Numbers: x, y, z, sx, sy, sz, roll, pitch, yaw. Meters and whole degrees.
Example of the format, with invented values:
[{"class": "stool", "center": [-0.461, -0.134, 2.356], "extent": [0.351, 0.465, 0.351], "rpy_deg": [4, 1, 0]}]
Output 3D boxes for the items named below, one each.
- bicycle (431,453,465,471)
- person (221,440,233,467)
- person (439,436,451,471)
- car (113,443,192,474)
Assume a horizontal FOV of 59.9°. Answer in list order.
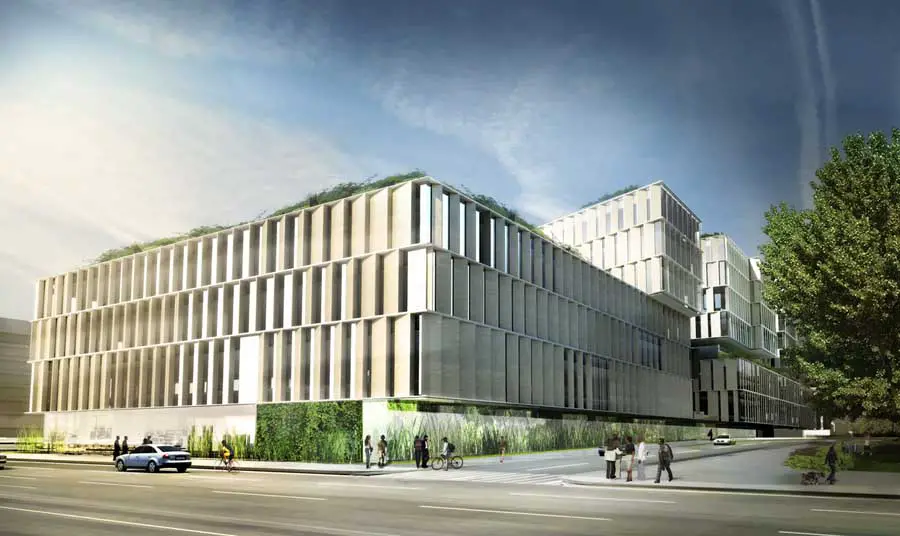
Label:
[{"class": "bicycle", "center": [-0.182, 15.108, 60.508], "extent": [2.405, 1.274, 1.149], "rpy_deg": [1, -11, 6]}, {"class": "person", "center": [-16.863, 14.066, 58.945], "extent": [0.791, 1.787, 1.064], "rpy_deg": [5, -21, -18]}, {"class": "person", "center": [-0.323, 14.275, 60.163], "extent": [0.774, 2.540, 1.375], "rpy_deg": [-2, -20, -1]}, {"class": "car", "center": [-22.200, 14.318, 58.743], "extent": [5.093, 2.231, 1.575], "rpy_deg": [-5, -20, 11]}]
